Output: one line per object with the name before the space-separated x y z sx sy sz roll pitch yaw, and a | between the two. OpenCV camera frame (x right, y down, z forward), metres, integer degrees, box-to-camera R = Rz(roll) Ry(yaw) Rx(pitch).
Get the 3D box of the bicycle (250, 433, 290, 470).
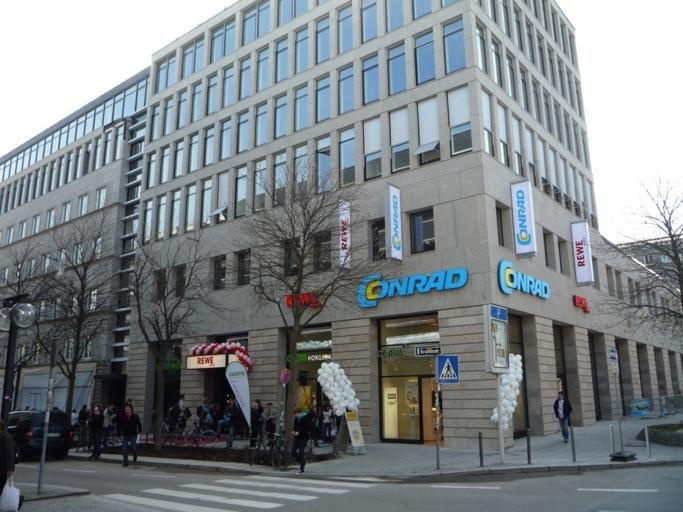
bicycle | -2.360 8.066 23.137 1.027 1.240 2.080 -20 -32 41
